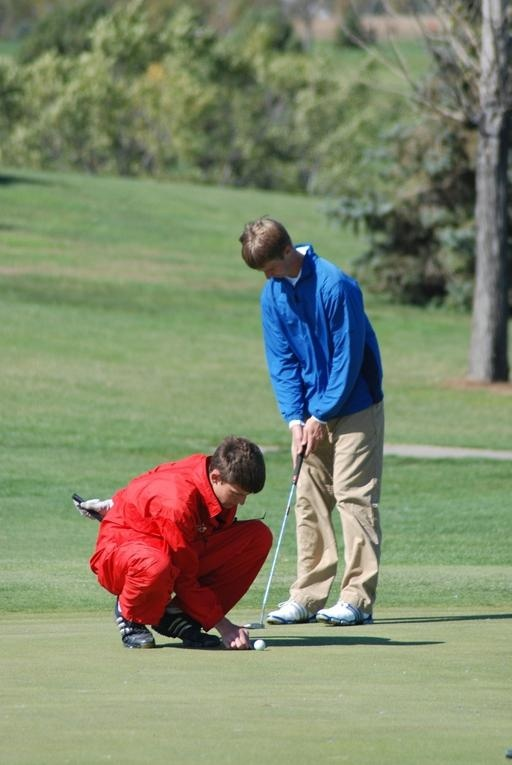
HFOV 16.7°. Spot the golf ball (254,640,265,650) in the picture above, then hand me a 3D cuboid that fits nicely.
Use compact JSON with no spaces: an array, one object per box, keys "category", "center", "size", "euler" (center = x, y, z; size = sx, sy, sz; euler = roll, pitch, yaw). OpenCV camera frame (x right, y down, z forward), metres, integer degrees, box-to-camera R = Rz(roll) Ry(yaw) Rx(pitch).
[{"category":"golf ball","center":[0.015,0.892,5.844],"size":[0.032,0.033,0.033],"euler":[-8,-20,-3]}]

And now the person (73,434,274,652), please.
[{"category":"person","center":[-0.249,0.548,6.038],"size":[0.650,0.596,0.712],"euler":[2,6,22]}]

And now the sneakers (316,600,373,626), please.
[{"category":"sneakers","center":[0.322,0.865,6.456],"size":[0.208,0.103,0.081],"euler":[9,-5,-16]}]

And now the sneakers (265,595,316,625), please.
[{"category":"sneakers","center":[0.134,0.874,6.556],"size":[0.185,0.092,0.074],"euler":[3,-2,-23]}]

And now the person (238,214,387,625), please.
[{"category":"person","center":[0.226,0.147,6.597],"size":[0.492,1.540,0.554],"euler":[-2,4,5]}]

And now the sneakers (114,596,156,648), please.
[{"category":"sneakers","center":[-0.426,0.820,5.916],"size":[0.108,0.163,0.214],"euler":[-5,4,-34]}]
